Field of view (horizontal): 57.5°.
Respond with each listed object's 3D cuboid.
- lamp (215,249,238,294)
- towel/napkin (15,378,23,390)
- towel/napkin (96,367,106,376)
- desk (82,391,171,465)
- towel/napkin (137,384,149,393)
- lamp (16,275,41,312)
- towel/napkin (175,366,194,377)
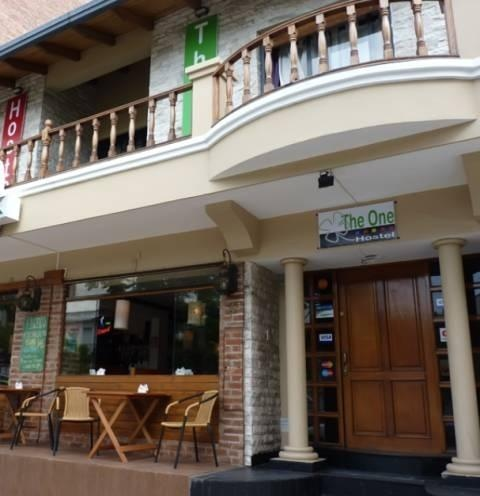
[{"bbox_3d":[-0.162,0.298,5.641,0.266,0.615,0.370,-2,-14,6],"label":"lamp"},{"bbox_3d":[-3.542,2.168,6.986,0.103,0.124,0.068,-5,-17,-2],"label":"towel/napkin"},{"bbox_3d":[-2.049,1.811,6.441,0.079,0.091,0.114,3,-20,-11],"label":"towel/napkin"},{"bbox_3d":[-1.496,2.239,5.526,0.650,0.978,0.804,-6,5,-23],"label":"desk"},{"bbox_3d":[-1.258,1.820,5.701,0.115,0.145,0.052,0,-17,8],"label":"towel/napkin"},{"bbox_3d":[-3.593,0.758,7.355,0.441,0.601,0.327,-7,-15,23],"label":"lamp"},{"bbox_3d":[-0.740,1.619,5.750,0.167,0.125,0.075,2,-53,0],"label":"towel/napkin"}]
